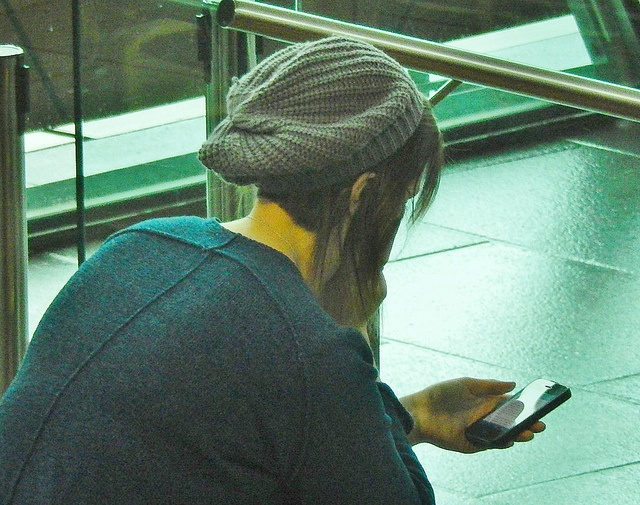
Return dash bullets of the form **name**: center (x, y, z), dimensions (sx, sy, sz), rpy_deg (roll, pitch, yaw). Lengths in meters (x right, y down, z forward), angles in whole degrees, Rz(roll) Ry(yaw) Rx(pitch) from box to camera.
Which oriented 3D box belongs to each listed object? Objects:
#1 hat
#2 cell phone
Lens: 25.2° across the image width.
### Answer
- **hat**: center (-0.058, -0.303, 3.237), dimensions (0.581, 0.217, 0.591), rpy_deg (4, 26, 25)
- **cell phone**: center (0.521, 0.400, 3.650), dimensions (0.116, 0.035, 0.365), rpy_deg (27, 33, 31)
